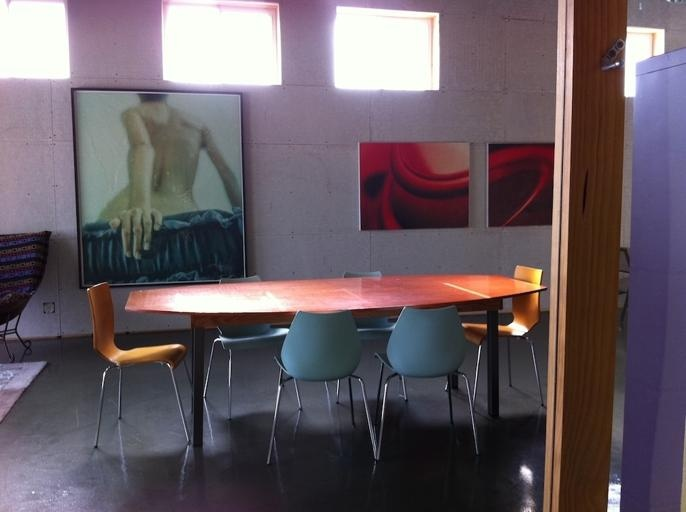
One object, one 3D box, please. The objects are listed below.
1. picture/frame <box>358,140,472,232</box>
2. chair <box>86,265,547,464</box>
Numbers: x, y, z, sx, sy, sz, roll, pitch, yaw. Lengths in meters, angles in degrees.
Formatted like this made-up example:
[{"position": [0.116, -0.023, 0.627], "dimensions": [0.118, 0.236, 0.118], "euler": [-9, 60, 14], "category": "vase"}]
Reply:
[{"position": [0.845, -0.829, 6.778], "dimensions": [1.322, 1.008, 0.280], "euler": [-4, 9, -20], "category": "picture/frame"}, {"position": [-0.197, 0.628, 3.968], "dimensions": [2.879, 0.977, 1.302], "euler": [-2, 8, -10], "category": "chair"}]
